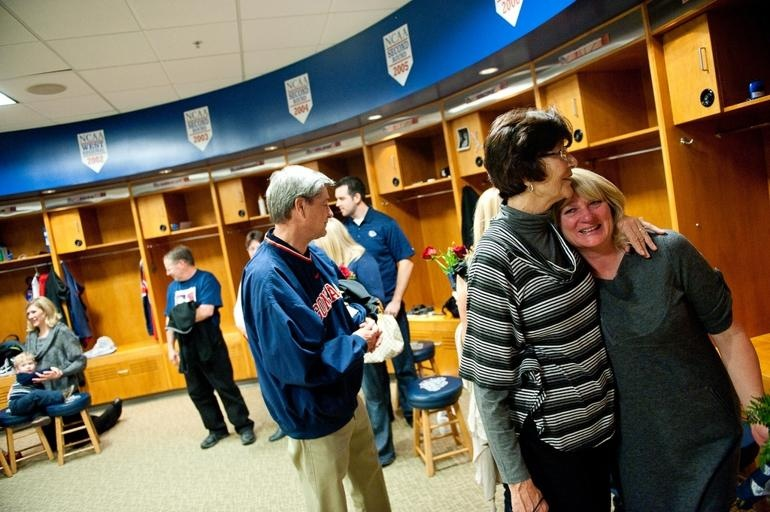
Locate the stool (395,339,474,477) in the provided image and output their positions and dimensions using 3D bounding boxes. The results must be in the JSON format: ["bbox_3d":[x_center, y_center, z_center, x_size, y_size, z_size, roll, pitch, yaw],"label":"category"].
[{"bbox_3d":[0.502,1.254,4.652,0.685,1.109,0.712,-17,18,-7],"label":"stool"}]

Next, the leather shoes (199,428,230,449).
[{"bbox_3d":[-1.838,1.941,5.464,0.104,0.134,0.313,-3,2,32],"label":"leather shoes"}]

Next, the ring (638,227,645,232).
[{"bbox_3d":[1.317,-0.138,2.587,0.030,0.029,0.010,14,-23,-1],"label":"ring"}]
